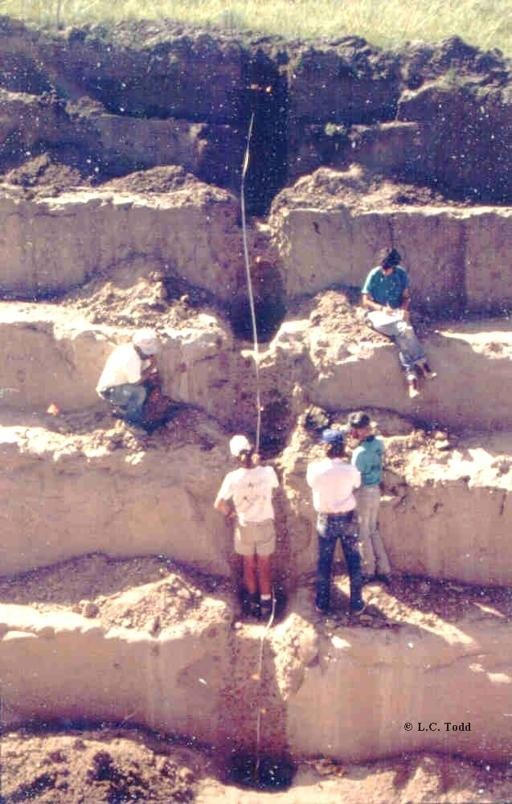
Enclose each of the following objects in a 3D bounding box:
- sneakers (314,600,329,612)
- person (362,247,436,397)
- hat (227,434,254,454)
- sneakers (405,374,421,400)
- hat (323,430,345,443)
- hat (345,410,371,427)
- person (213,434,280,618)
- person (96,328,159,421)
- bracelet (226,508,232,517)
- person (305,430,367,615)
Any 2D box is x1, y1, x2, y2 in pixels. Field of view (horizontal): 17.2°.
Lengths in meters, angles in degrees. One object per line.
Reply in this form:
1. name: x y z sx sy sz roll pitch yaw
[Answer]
1. sneakers: 0.683 2.153 17.722 0.150 0.178 0.090 3 10 21
2. person: 1.523 -0.855 18.308 0.487 1.625 0.825 -9 14 -29
3. hat: -0.147 0.473 17.310 0.195 0.207 0.316 -4 14 -7
4. sneakers: 1.673 -0.174 18.224 0.116 0.284 0.062 -1 21 25
5. hat: 0.767 0.347 17.090 0.210 0.117 0.189 6 16 31
6. hat: 1.046 0.180 17.264 0.195 0.174 0.245 -4 14 -7
7. person: -0.071 1.322 17.590 0.617 2.000 0.568 -2 12 2
8. person: -1.328 -0.223 17.830 0.677 0.954 0.493 -7 13 -17
9. bracelet: -0.272 1.144 17.416 0.055 0.092 0.022 0 -5 -15
10. person: 0.813 1.252 17.394 0.518 2.027 0.589 -1 12 5
